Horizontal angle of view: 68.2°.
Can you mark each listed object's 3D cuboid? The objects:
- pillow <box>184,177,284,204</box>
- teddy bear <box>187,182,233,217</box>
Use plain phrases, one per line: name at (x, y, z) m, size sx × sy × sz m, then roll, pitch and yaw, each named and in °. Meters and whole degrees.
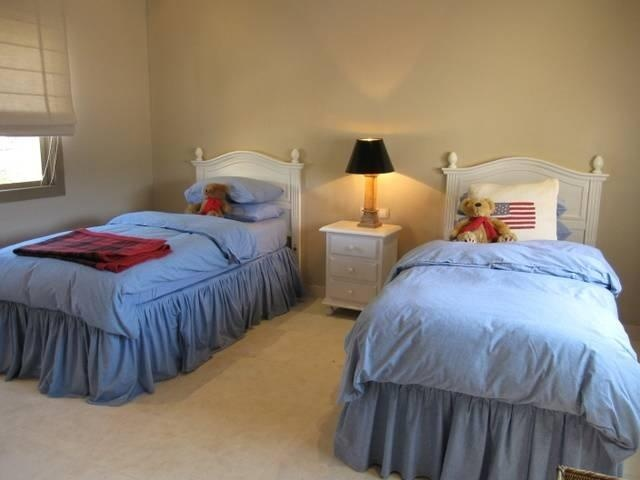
pillow at (-0.648, -0.453, 4.351) m, size 0.450 × 0.151 × 0.417 m, roll 10°, pitch 16°, yaw 42°
teddy bear at (-0.990, -0.356, 4.286) m, size 0.392 × 0.354 × 0.280 m, roll 5°, pitch 1°, yaw 19°
